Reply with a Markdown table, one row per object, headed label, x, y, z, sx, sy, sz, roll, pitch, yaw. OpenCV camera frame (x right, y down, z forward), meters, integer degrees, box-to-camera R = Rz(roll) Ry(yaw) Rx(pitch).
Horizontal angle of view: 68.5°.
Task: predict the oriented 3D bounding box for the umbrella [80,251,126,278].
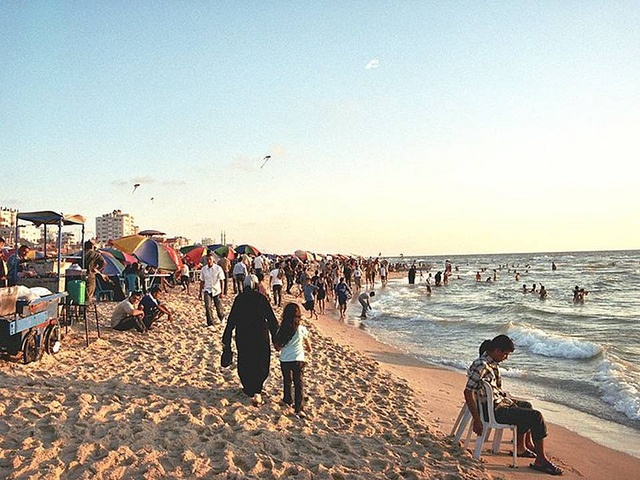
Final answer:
| label | x | y | z | sx | sy | sz | roll | pitch | yaw |
| --- | --- | --- | --- | --- | --- | --- | --- | --- | --- |
| umbrella | -6.798 | 0.808 | 15.145 | 0.959 | 0.418 | 0.974 | 3 | 2 | 19 |

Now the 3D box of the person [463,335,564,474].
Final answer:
| label | x | y | z | sx | sy | sz | roll | pitch | yaw |
| --- | --- | --- | --- | --- | --- | --- | --- | --- | --- |
| person | 2.809 | 2.455 | 7.107 | 1.439 | 2.081 | 0.630 | 5 | 0 | -19 |

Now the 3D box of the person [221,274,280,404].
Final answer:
| label | x | y | z | sx | sy | sz | roll | pitch | yaw |
| --- | --- | --- | --- | --- | --- | --- | --- | --- | --- |
| person | -1.238 | 1.769 | 8.241 | 0.912 | 2.181 | 0.828 | 5 | 0 | -6 |

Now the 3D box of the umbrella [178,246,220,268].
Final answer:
| label | x | y | z | sx | sy | sz | roll | pitch | yaw |
| --- | --- | --- | --- | --- | --- | --- | --- | --- | --- |
| umbrella | -5.969 | 0.725 | 22.646 | 1.907 | 0.684 | 1.927 | 0 | -3 | -6 |

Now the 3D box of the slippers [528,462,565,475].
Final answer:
| label | x | y | z | sx | sy | sz | roll | pitch | yaw |
| --- | --- | --- | --- | --- | --- | --- | --- | --- | --- |
| slippers | 3.403 | 3.437 | 7.153 | 0.509 | 0.202 | 0.188 | 0 | 0 | 4 |

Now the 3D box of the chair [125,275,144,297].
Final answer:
| label | x | y | z | sx | sy | sz | roll | pitch | yaw |
| --- | --- | --- | --- | --- | --- | --- | --- | --- | --- |
| chair | -5.987 | 1.457 | 15.023 | 0.442 | 0.665 | 0.681 | 3 | 5 | -4 |

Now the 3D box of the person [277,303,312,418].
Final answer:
| label | x | y | z | sx | sy | sz | roll | pitch | yaw |
| --- | --- | --- | --- | --- | --- | --- | --- | --- | --- |
| person | -0.484 | 2.061 | 8.239 | 0.592 | 1.943 | 0.852 | 5 | 0 | 3 |

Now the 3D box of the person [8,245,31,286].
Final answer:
| label | x | y | z | sx | sy | sz | roll | pitch | yaw |
| --- | --- | --- | --- | --- | --- | --- | --- | --- | --- |
| person | -6.897 | 0.553 | 10.725 | 0.362 | 0.896 | 1.716 | 5 | 0 | -33 |

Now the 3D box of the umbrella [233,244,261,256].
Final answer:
| label | x | y | z | sx | sy | sz | roll | pitch | yaw |
| --- | --- | --- | --- | --- | --- | --- | --- | --- | --- |
| umbrella | -4.138 | 0.553 | 26.268 | 1.373 | 0.539 | 0.946 | 5 | -1 | 36 |

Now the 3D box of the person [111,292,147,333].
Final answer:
| label | x | y | z | sx | sy | sz | roll | pitch | yaw |
| --- | --- | --- | --- | --- | --- | --- | --- | --- | --- |
| person | -4.838 | 1.836 | 12.233 | 1.018 | 1.280 | 0.764 | -3 | 5 | -22 |

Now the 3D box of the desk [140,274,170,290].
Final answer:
| label | x | y | z | sx | sy | sz | roll | pitch | yaw |
| --- | --- | --- | --- | --- | --- | --- | --- | --- | --- |
| desk | -6.053 | 1.505 | 17.062 | 0.564 | 0.744 | 0.290 | -3 | 32 | -10 |

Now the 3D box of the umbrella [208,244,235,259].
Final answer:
| label | x | y | z | sx | sy | sz | roll | pitch | yaw |
| --- | --- | --- | --- | --- | --- | --- | --- | --- | --- |
| umbrella | -4.941 | 0.585 | 23.539 | 0.689 | 0.252 | 0.700 | 7 | -14 | 33 |

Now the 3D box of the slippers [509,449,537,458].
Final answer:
| label | x | y | z | sx | sy | sz | roll | pitch | yaw |
| --- | --- | --- | --- | --- | --- | --- | --- | --- | --- |
| slippers | 3.188 | 3.323 | 7.322 | 0.297 | 0.090 | 0.110 | -2 | -3 | -1 |
